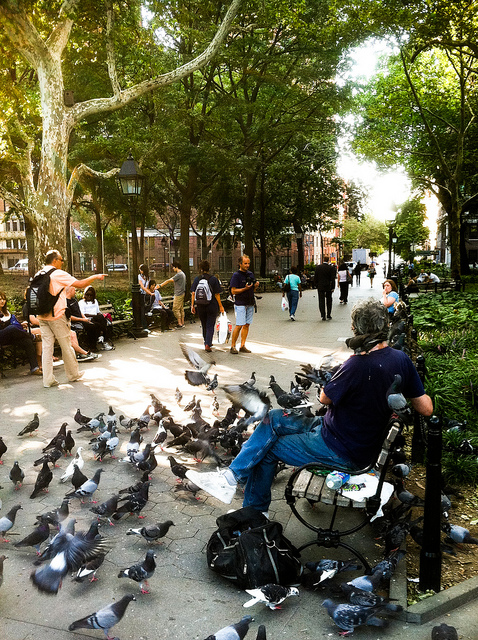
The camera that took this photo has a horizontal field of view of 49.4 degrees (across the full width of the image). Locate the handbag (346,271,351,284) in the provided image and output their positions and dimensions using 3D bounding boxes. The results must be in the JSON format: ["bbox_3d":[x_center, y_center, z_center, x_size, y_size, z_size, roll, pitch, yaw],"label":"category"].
[{"bbox_3d":[4.824,-1.873,22.854,0.100,0.301,1.060,-6,-22,19],"label":"handbag"}]

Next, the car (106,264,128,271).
[{"bbox_3d":[-15.841,-6.916,68.371,3.258,0.977,1.350,3,9,3],"label":"car"}]

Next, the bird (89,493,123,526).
[{"bbox_3d":[-0.977,1.410,3.854,0.223,0.229,0.228,-2,3,3],"label":"bird"}]

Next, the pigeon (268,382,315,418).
[{"bbox_3d":[0.333,0.579,3.748,0.318,0.244,0.367,1,5,17],"label":"pigeon"}]

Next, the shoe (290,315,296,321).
[{"bbox_3d":[1.786,-0.046,17.217,0.089,0.096,0.258,-12,-17,12],"label":"shoe"}]

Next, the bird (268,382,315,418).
[{"bbox_3d":[0.340,0.577,3.740,0.315,0.245,0.360,1,5,17],"label":"bird"}]

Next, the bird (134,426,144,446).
[{"bbox_3d":[-1.040,1.214,5.402,0.080,0.203,0.136,-5,-17,7],"label":"bird"}]

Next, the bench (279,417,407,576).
[{"bbox_3d":[0.827,1.182,3.830,0.673,0.833,1.627,1,-7,19],"label":"bench"}]

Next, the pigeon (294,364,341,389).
[{"bbox_3d":[0.699,0.474,4.435,0.380,0.227,0.156,10,-15,-13],"label":"pigeon"}]

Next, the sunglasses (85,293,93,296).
[{"bbox_3d":[-3.428,-0.585,11.864,0.205,0.062,0.084,-1,3,20],"label":"sunglasses"}]

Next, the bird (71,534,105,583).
[{"bbox_3d":[-0.865,1.378,3.049,0.235,0.252,0.107,-17,43,-39],"label":"bird"}]

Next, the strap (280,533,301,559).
[{"bbox_3d":[0.312,1.345,3.048,0.045,0.156,0.114,-44,11,-6],"label":"strap"}]

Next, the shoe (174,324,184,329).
[{"bbox_3d":[-1.813,0.198,15.591,0.234,0.120,0.367,-1,3,10],"label":"shoe"}]

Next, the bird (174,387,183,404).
[{"bbox_3d":[-0.840,1.044,7.206,0.083,0.210,0.295,-3,3,-10],"label":"bird"}]

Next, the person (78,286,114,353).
[{"bbox_3d":[-3.377,0.015,12.228,0.802,1.245,1.975,2,20,-4],"label":"person"}]

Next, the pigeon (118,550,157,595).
[{"bbox_3d":[-0.586,1.443,2.992,0.208,0.248,0.124,6,5,12],"label":"pigeon"}]

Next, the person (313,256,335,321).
[{"bbox_3d":[2.712,-1.022,16.595,0.675,1.980,0.610,1,3,4],"label":"person"}]

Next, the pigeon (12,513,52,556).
[{"bbox_3d":[-1.380,1.439,3.464,0.245,0.270,0.099,3,18,-21],"label":"pigeon"}]

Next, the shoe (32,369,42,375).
[{"bbox_3d":[-3.584,0.937,9.238,0.169,0.116,0.061,-7,6,3],"label":"shoe"}]

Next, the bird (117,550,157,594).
[{"bbox_3d":[-0.596,1.445,2.998,0.210,0.231,0.174,-3,3,-11],"label":"bird"}]

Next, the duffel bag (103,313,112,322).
[{"bbox_3d":[-3.234,-0.079,12.853,0.171,0.191,1.095,-3,3,-14],"label":"duffel bag"}]

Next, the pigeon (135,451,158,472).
[{"bbox_3d":[-0.845,1.290,4.689,0.182,0.180,0.156,-3,3,-12],"label":"pigeon"}]

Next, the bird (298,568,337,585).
[{"bbox_3d":[0.439,1.457,2.939,0.214,0.057,0.094,-32,-17,31],"label":"bird"}]

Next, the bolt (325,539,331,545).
[{"bbox_3d":[0.524,1.311,3.066,0.032,0.027,0.007,-3,12,-8],"label":"bolt"}]

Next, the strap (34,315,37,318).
[{"bbox_3d":[-3.475,-0.064,8.856,0.010,0.037,0.040,-10,6,3],"label":"strap"}]

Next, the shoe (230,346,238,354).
[{"bbox_3d":[-0.112,0.646,11.111,0.158,0.166,0.443,-3,-2,-5],"label":"shoe"}]

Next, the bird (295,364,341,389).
[{"bbox_3d":[0.688,0.478,4.401,0.308,0.125,0.259,10,20,12],"label":"bird"}]

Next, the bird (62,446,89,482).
[{"bbox_3d":[-1.520,1.344,4.812,0.126,0.248,0.323,8,23,19],"label":"bird"}]

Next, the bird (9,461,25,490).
[{"bbox_3d":[-1.912,1.337,4.470,0.093,0.240,0.187,-3,3,-22],"label":"bird"}]

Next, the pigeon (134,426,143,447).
[{"bbox_3d":[-1.036,1.207,5.362,0.075,0.217,0.146,-1,-29,-2],"label":"pigeon"}]

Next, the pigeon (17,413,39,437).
[{"bbox_3d":[-2.344,1.188,5.860,0.251,0.248,0.247,0,4,38],"label":"pigeon"}]

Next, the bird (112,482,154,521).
[{"bbox_3d":[-0.837,1.352,3.920,0.391,0.276,0.130,-5,21,-23],"label":"bird"}]

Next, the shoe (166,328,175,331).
[{"bbox_3d":[-1.996,0.270,15.178,0.217,0.078,0.380,-2,3,-8],"label":"shoe"}]
